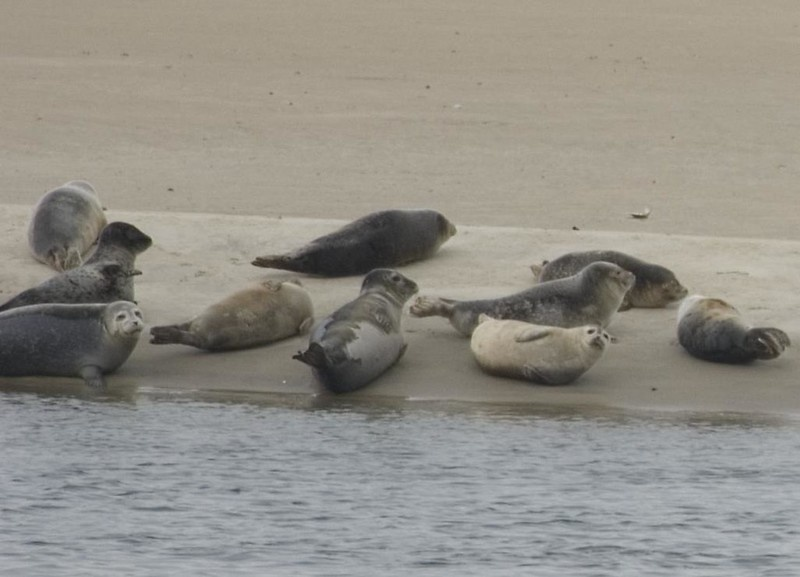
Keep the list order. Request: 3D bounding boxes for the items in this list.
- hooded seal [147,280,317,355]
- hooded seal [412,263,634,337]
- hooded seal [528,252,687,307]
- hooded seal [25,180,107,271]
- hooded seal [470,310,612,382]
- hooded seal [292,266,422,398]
[{"bbox_3d":[-2.138,0.404,26.851,2.358,0.567,0.891,-17,15,-37],"label":"hooded seal"},{"bbox_3d":[1.666,0.116,27.109,3.000,0.742,1.015,0,7,6],"label":"hooded seal"},{"bbox_3d":[2.861,-0.203,28.275,2.372,0.605,0.768,6,14,13],"label":"hooded seal"},{"bbox_3d":[-4.935,-1.015,29.846,0.781,0.795,1.896,31,23,-16],"label":"hooded seal"},{"bbox_3d":[1.917,0.748,26.141,0.960,0.795,2.465,0,4,-38],"label":"hooded seal"},{"bbox_3d":[-0.460,0.516,26.285,0.996,0.784,2.186,16,34,30],"label":"hooded seal"}]
